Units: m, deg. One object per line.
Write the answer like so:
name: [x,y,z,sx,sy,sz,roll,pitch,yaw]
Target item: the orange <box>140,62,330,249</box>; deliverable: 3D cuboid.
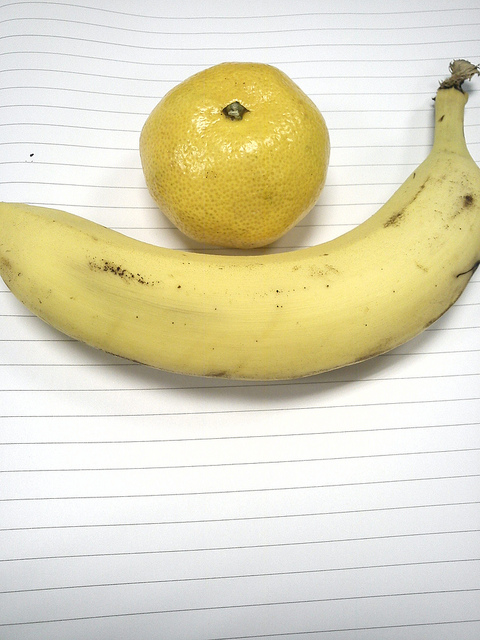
orange: [-0.005,-0.155,0.754,0.202,0.183,0.148,1,-2,1]
